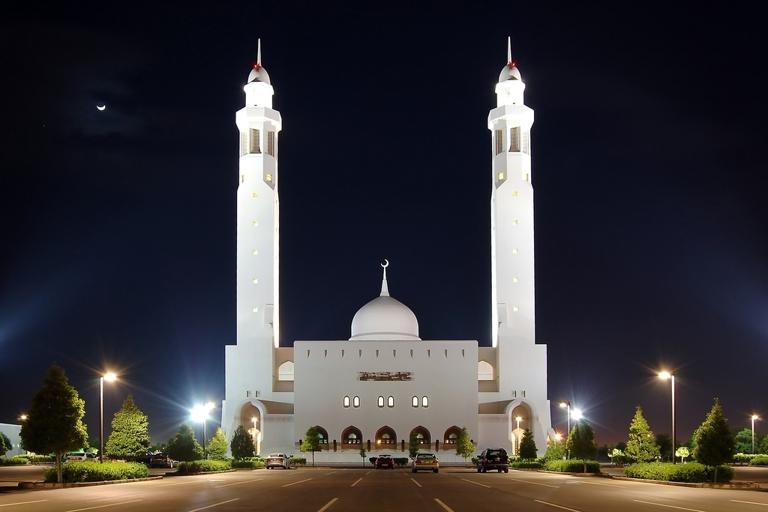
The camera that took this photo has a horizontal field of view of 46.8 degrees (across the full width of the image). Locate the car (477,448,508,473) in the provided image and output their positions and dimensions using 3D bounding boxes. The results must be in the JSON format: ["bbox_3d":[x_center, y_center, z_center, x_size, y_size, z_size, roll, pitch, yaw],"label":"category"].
[{"bbox_3d":[7.967,14.979,65.408,1.358,1.246,2.857,0,-7,4],"label":"car"}]

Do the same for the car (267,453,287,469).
[{"bbox_3d":[-8.415,16.149,70.159,1.448,1.148,2.551,1,-17,-2],"label":"car"}]

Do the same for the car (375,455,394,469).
[{"bbox_3d":[0.093,16.688,72.484,0.990,0.751,2.255,-1,-16,1],"label":"car"}]

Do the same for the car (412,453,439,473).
[{"bbox_3d":[3.018,14.985,64.632,1.696,1.358,1.368,1,-16,-2],"label":"car"}]
